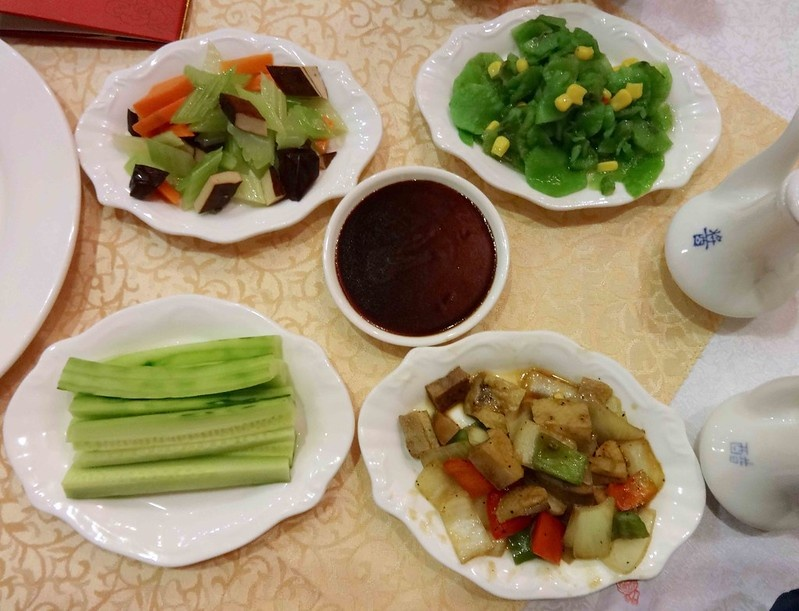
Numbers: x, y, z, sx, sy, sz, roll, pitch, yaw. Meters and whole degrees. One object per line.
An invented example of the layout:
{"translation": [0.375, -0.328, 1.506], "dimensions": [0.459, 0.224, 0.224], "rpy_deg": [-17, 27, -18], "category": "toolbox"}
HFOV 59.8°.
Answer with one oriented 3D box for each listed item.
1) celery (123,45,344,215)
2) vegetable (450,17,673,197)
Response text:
{"translation": [-0.598, -0.620, 2.413], "dimensions": [0.814, 0.215, 0.552], "rpy_deg": [-4, 75, -4], "category": "celery"}
{"translation": [0.536, -0.660, 2.451], "dimensions": [0.603, 0.205, 0.737], "rpy_deg": [7, 79, -2], "category": "vegetable"}
